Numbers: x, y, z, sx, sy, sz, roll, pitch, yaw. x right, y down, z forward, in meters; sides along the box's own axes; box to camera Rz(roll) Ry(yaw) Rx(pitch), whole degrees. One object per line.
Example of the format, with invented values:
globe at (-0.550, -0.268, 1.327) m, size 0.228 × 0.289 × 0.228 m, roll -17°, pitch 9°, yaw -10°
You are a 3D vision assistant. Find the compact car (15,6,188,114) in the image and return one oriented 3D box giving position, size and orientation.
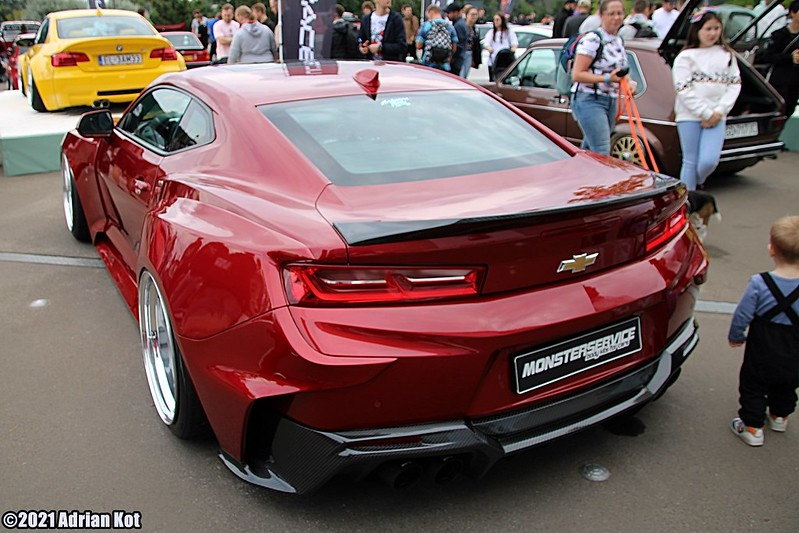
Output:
compact car at (-5.133, -3.592, 9.986) m, size 2.024 × 1.271 × 3.733 m, roll -11°, pitch 29°, yaw -32°

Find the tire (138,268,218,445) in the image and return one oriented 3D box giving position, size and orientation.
tire at (-1.134, 0.469, 2.998) m, size 0.299 × 0.864 × 0.884 m, roll -13°, pitch 0°, yaw -27°

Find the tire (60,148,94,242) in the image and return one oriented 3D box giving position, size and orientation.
tire at (-2.942, -0.658, 5.307) m, size 0.242 × 0.696 × 0.699 m, roll -6°, pitch 55°, yaw -34°

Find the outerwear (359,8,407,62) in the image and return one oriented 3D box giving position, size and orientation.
outerwear at (-0.282, -4.235, 10.775) m, size 0.921 × 0.969 × 0.610 m, roll 16°, pitch 36°, yaw 26°

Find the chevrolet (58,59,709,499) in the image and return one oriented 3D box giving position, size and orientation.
chevrolet at (-0.218, -0.044, 3.258) m, size 3.216 × 1.779 × 2.192 m, roll 19°, pitch 34°, yaw 34°

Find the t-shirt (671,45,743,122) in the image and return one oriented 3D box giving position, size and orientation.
t-shirt at (3.222, -1.928, 6.160) m, size 0.866 × 0.795 × 0.462 m, roll -10°, pitch 21°, yaw -23°
